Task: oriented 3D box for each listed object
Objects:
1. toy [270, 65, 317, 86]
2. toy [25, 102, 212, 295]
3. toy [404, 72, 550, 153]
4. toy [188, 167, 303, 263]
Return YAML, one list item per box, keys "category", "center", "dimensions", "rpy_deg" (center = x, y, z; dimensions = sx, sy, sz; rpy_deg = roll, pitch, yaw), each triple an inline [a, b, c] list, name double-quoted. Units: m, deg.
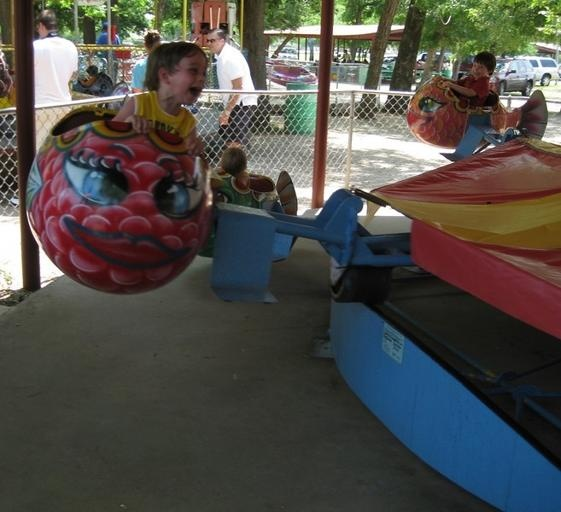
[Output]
- category: "toy"
  center: [0.420, -6.045, 17.380]
  dimensions: [1.509, 0.651, 1.075]
  rpy_deg: [3, 20, -2]
- category: "toy"
  center: [-0.474, -0.143, 1.609]
  dimensions: [0.541, 0.555, 0.515]
  rpy_deg: [-3, 24, -37]
- category: "toy"
  center: [1.651, -1.183, 4.434]
  dimensions: [1.082, 0.448, 0.556]
  rpy_deg: [2, 11, -2]
- category: "toy"
  center: [-0.201, -0.290, 3.229]
  dimensions: [0.717, 0.319, 0.485]
  rpy_deg: [2, 12, -12]
